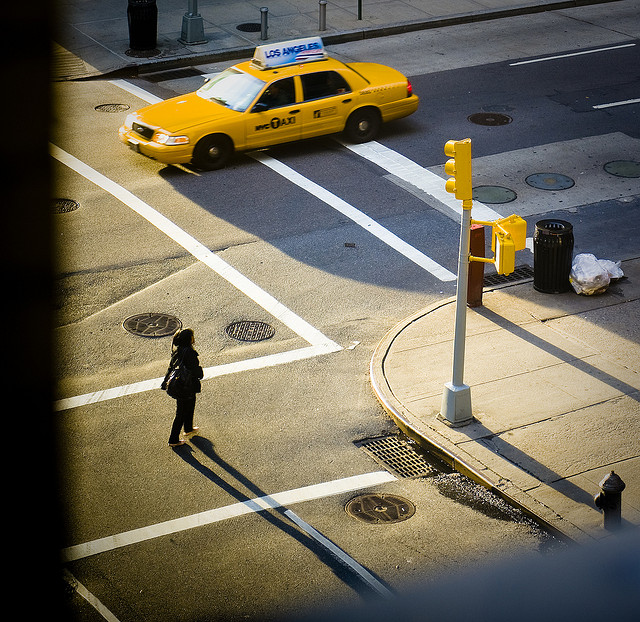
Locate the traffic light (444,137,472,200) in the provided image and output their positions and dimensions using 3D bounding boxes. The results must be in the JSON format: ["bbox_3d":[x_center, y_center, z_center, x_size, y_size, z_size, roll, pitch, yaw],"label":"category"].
[{"bbox_3d":[1.357,-1.365,9.190,0.315,0.580,0.536,-10,8,9],"label":"traffic light"}]

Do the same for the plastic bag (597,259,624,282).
[{"bbox_3d":[3.919,-0.565,12.666,0.354,0.146,0.264,29,35,10],"label":"plastic bag"}]

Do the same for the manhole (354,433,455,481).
[{"bbox_3d":[0.892,1.506,9.684,0.584,0.071,0.558,-13,34,-23],"label":"manhole"}]

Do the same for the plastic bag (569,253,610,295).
[{"bbox_3d":[3.612,-0.530,12.535,0.573,0.290,0.751,1,36,8],"label":"plastic bag"}]

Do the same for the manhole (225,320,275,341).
[{"bbox_3d":[-0.883,0.240,11.959,0.582,0.217,0.445,-8,8,10],"label":"manhole"}]

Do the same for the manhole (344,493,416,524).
[{"bbox_3d":[0.574,1.866,8.979,0.648,0.171,0.484,-10,7,-6],"label":"manhole"}]

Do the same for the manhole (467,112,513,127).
[{"bbox_3d":[3.353,-3.732,18.491,0.811,0.315,0.631,-8,8,9],"label":"manhole"}]

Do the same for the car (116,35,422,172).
[{"bbox_3d":[-0.224,-3.665,17.415,4.995,1.479,1.894,-7,5,13],"label":"car"}]

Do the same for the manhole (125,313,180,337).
[{"bbox_3d":[-2.122,0.170,12.012,0.424,0.025,0.393,-11,28,-30],"label":"manhole"}]

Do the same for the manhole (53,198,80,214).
[{"bbox_3d":[-4.011,-1.677,14.927,0.395,0.248,0.569,-11,8,-12],"label":"manhole"}]

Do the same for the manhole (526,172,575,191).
[{"bbox_3d":[3.914,-2.182,15.977,0.737,0.313,0.667,-7,8,14],"label":"manhole"}]

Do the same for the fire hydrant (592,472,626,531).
[{"bbox_3d":[2.580,1.714,8.417,0.327,0.577,0.254,13,47,25],"label":"fire hydrant"}]
